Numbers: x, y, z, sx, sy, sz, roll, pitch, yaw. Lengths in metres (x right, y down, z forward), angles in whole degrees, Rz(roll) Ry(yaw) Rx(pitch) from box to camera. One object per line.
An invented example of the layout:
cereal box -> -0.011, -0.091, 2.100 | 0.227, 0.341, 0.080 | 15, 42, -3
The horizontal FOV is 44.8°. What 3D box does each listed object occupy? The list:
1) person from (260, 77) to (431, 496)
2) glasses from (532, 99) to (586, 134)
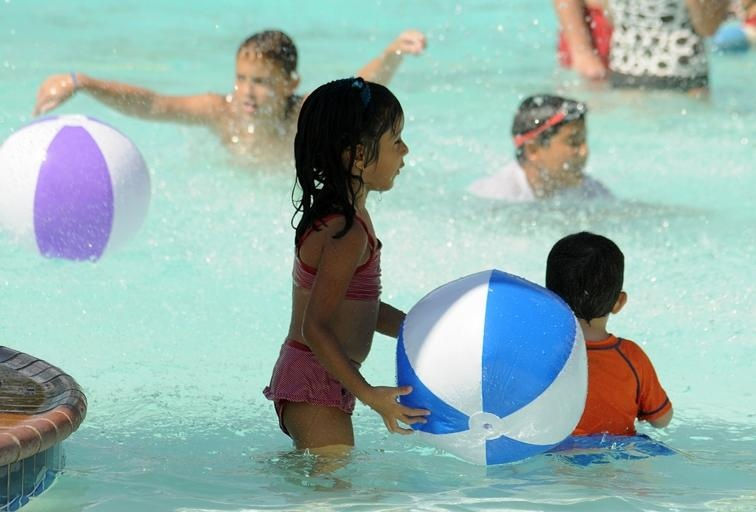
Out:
person -> -0.150, 0.050, 3.138 | 0.526, 1.272, 0.512 | -2, 15, 0
glasses -> 1.112, -0.830, 5.461 | 0.347, 0.171, 0.149 | -7, 15, -23
